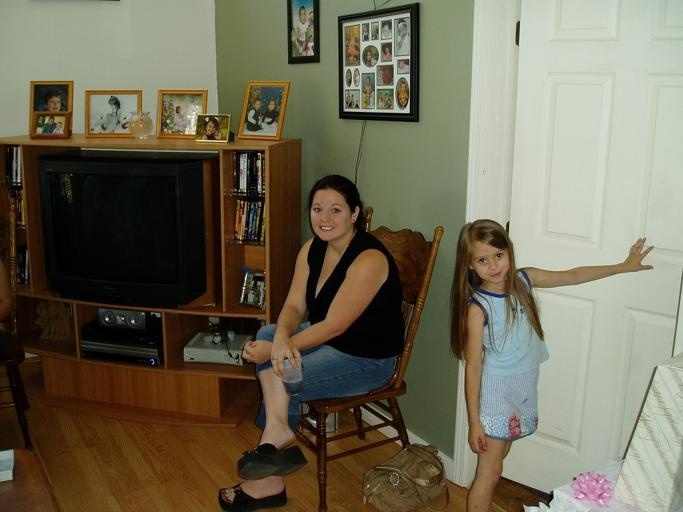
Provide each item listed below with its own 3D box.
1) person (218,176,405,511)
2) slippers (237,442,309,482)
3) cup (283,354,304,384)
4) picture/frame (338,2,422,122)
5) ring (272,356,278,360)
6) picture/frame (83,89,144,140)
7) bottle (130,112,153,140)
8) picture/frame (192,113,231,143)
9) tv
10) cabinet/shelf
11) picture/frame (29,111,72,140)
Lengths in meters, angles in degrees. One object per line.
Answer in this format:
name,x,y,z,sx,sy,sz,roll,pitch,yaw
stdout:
person,-0.150,0.259,2.446,0.825,1.220,0.491,-12,18,-38
slippers,-0.308,0.893,2.323,0.334,0.137,0.188,-2,-20,-11
cup,-0.211,0.494,2.333,0.093,0.108,0.098,-1,-3,0
picture/frame,0.211,-1.018,2.732,0.044,0.632,0.658,-10,14,-40
ring,-0.290,0.439,2.301,0.017,0.006,0.024,1,4,2
picture/frame,-1.400,-0.873,3.266,0.318,0.286,0.030,0,4,2
bottle,-1.211,-0.798,3.253,0.149,0.180,0.150,-13,29,-42
picture/frame,-0.762,-0.751,3.102,0.213,0.167,0.017,3,2,20
tv,-1.272,-0.157,3.257,0.971,0.861,0.525,4,10,12
cabinet/shelf,-1.068,0.127,3.050,1.545,1.467,0.581,3,16,9
picture/frame,-1.728,-0.780,3.159,0.179,0.152,0.019,-2,-16,-5
